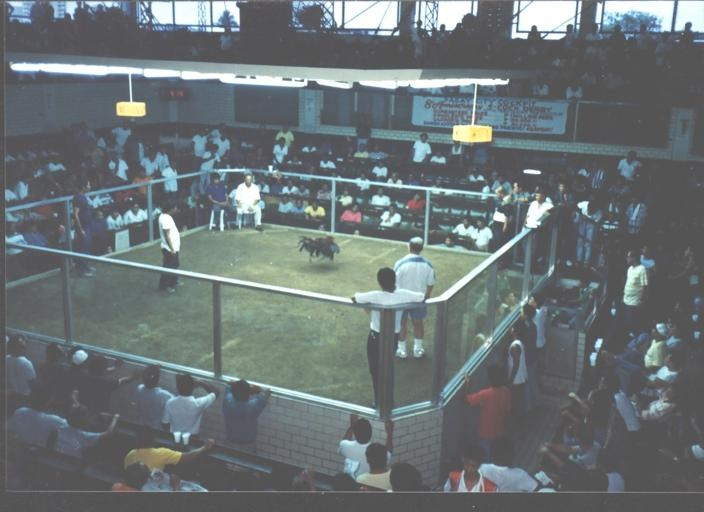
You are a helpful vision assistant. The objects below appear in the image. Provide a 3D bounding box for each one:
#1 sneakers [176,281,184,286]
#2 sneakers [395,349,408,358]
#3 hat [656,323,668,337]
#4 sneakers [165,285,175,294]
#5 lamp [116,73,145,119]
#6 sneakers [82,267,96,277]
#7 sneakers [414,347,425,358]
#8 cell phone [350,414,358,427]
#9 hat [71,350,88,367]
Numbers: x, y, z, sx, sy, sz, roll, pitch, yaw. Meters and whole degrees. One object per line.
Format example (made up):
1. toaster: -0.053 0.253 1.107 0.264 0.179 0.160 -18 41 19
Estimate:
1. sneakers: -2.585 0.402 10.013 0.162 0.067 0.057 4 62 50
2. sneakers: 0.752 1.525 10.398 0.162 0.157 0.104 -2 34 3
3. hat: 5.773 1.381 12.540 0.227 0.186 0.194 -3 21 6
4. sneakers: -2.767 0.516 10.173 0.235 0.104 0.084 -4 36 39
5. lamp: -5.424 -3.907 16.388 0.732 1.137 0.764 -1 3 -6
6. sneakers: -4.177 0.249 10.616 0.195 0.144 0.088 -3 14 -21
7. sneakers: 1.035 1.496 10.456 0.145 0.135 0.110 7 34 8
8. cell phone: 0.010 2.272 9.295 0.109 0.168 0.085 14 23 9
9. hat: -4.150 1.560 10.210 0.197 0.055 0.208 -38 65 -19
